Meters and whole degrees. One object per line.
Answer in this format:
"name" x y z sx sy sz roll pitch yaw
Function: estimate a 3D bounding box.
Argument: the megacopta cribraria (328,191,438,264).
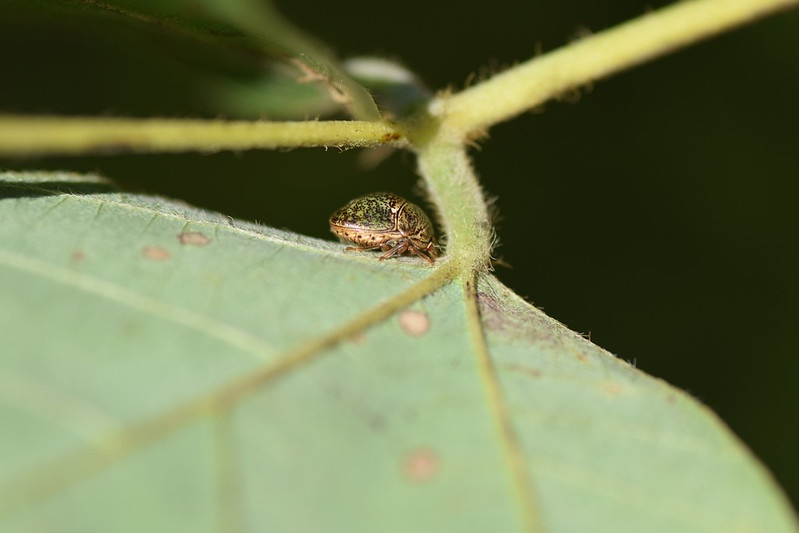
"megacopta cribraria" -0.021 -0.074 1.525 0.150 0.145 0.080 4 -74 -17
